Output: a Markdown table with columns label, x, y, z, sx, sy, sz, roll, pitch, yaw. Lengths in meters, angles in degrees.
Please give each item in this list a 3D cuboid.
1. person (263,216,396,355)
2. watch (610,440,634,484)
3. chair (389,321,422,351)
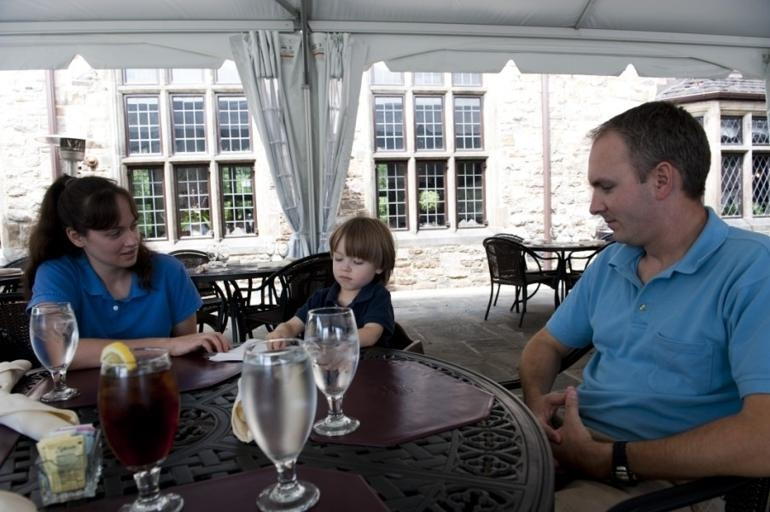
| label | x | y | z | sx | sy | sz | roll | pitch | yaw |
| --- | --- | --- | --- | --- | --- | --- | --- | --- | --- |
| person | -0.129 | 0.094 | 2.637 | 0.581 | 0.729 | 0.640 | 0 | 2 | 15 |
| watch | 0.729 | 0.637 | 1.741 | 0.086 | 0.111 | 0.114 | -4 | -7 | 25 |
| chair | 0.098 | 0.337 | 2.370 | 0.110 | 0.137 | 0.130 | 6 | -7 | -41 |
